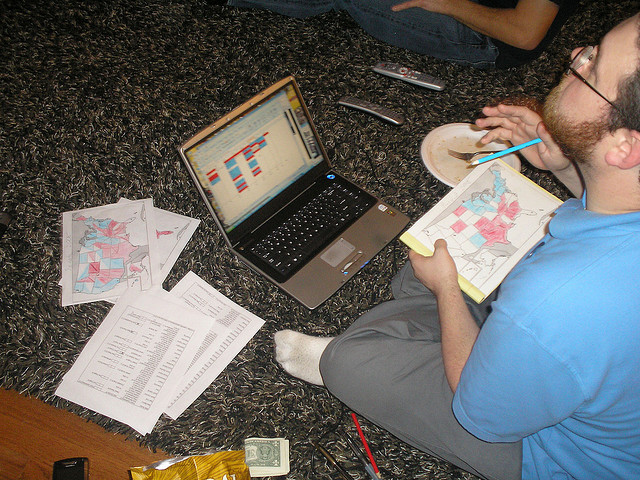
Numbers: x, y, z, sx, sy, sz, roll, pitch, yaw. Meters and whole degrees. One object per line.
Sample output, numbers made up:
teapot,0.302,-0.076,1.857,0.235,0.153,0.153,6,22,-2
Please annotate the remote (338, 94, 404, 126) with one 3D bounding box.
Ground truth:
remote,0.197,-0.512,1.919,0.293,0.065,0.067,23,70,31
